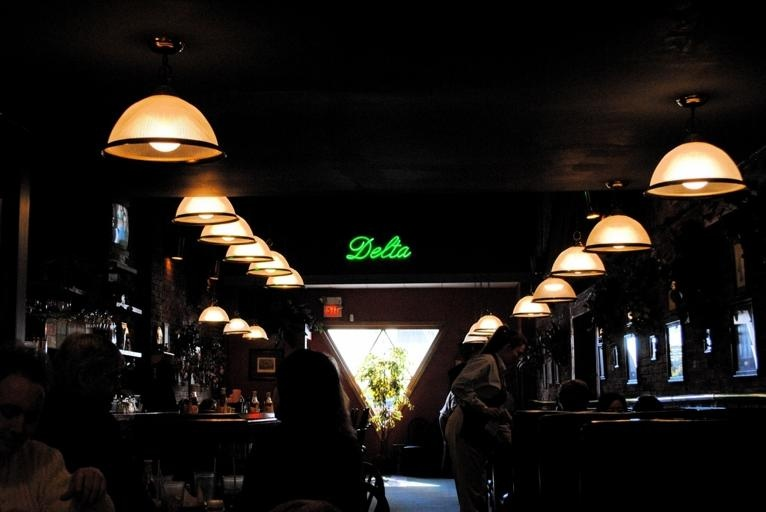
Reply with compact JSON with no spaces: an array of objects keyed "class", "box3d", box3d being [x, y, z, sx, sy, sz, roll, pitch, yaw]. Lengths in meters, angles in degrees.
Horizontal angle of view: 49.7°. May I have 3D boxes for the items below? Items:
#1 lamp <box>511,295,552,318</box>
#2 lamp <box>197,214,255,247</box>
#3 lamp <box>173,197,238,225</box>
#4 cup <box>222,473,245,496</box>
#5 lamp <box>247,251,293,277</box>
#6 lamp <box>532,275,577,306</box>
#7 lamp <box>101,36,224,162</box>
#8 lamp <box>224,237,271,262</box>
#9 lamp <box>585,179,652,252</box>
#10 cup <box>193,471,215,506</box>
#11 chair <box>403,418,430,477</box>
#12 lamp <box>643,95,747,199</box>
[{"class":"lamp","box3d":[1.714,0.611,9.654,0.402,0.216,0.387,3,-15,-17]},{"class":"lamp","box3d":[-1.395,-0.218,7.270,0.448,0.212,0.432,1,-13,-8]},{"class":"lamp","box3d":[-1.460,-0.364,6.744,0.463,0.210,0.446,0,-9,-9]},{"class":"cup","box3d":[-0.892,1.366,4.915,0.106,0.096,0.101,-1,0,0]},{"class":"lamp","box3d":[-1.179,0.125,8.518,0.320,0.145,0.309,1,-13,-10]},{"class":"lamp","box3d":[1.710,0.376,8.434,0.336,0.165,0.325,1,-12,-2]},{"class":"lamp","box3d":[-1.373,-0.851,5.325,0.820,0.760,0.815,2,-12,-17]},{"class":"lamp","box3d":[-1.277,-0.015,7.845,0.306,0.167,0.296,3,-13,-16]},{"class":"lamp","box3d":[1.975,-0.342,6.982,0.594,0.589,0.582,-4,-7,38]},{"class":"cup","box3d":[-0.975,1.269,4.491,0.105,0.160,0.323,2,-14,-12]},{"class":"chair","box3d":[0.591,3.550,15.268,0.531,1.009,0.944,-2,-13,2]},{"class":"lamp","box3d":[2.270,-0.775,5.889,0.819,0.777,0.745,-3,-7,31]}]
